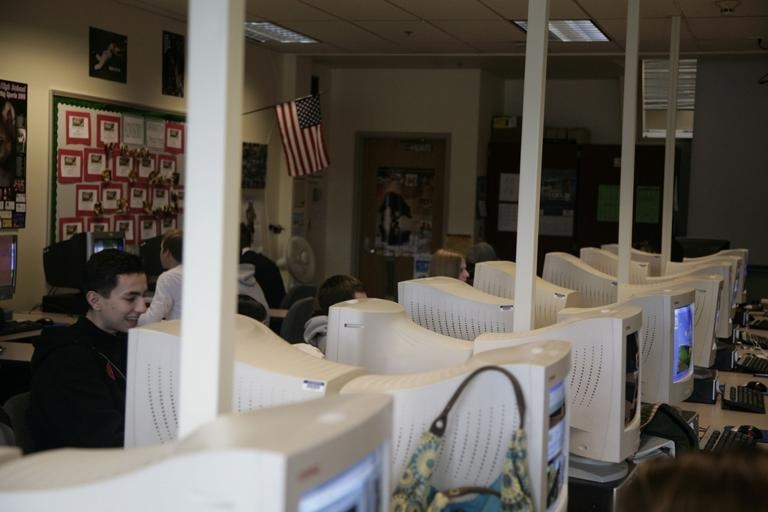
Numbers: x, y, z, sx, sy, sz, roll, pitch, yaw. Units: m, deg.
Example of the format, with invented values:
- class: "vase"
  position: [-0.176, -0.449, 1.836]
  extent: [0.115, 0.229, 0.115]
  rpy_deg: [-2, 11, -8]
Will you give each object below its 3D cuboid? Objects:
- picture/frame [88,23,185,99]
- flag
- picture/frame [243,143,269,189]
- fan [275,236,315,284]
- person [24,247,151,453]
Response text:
- class: "picture/frame"
  position: [-2.410, -2.006, 6.075]
  extent: [0.046, 0.671, 1.195]
  rpy_deg: [2, 6, 25]
- class: "flag"
  position: [-0.988, -1.498, 7.542]
  extent: [0.630, 0.955, 0.335]
  rpy_deg: [-1, 5, -10]
- class: "picture/frame"
  position: [-1.654, -1.167, 7.760]
  extent: [0.053, 0.585, 0.610]
  rpy_deg: [7, 8, 19]
- class: "fan"
  position: [-1.104, 0.048, 7.576]
  extent: [0.301, 0.554, 0.533]
  rpy_deg: [-9, -12, 28]
- class: "person"
  position: [-1.196, 0.466, 2.708]
  extent: [0.575, 0.942, 0.599]
  rpy_deg: [0, -3, -26]
